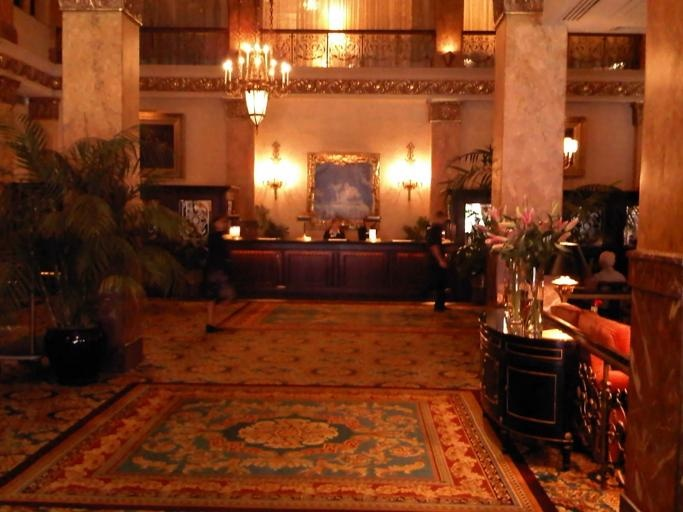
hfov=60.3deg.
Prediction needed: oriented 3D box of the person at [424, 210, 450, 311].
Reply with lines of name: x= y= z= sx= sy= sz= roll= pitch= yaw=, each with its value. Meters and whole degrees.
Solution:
person: x=1.605 y=0.083 z=9.761 sx=0.431 sy=1.625 sz=0.328 roll=6 pitch=8 yaw=43

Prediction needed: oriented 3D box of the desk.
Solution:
desk: x=1.354 y=0.988 z=4.781 sx=0.468 sy=0.880 sz=1.429 roll=0 pitch=4 yaw=-4

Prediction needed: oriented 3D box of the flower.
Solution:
flower: x=1.472 y=-0.158 z=4.568 sx=0.608 sy=0.453 sz=0.623 roll=1 pitch=4 yaw=-32

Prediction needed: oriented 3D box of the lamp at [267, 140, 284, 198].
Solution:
lamp: x=-1.485 y=-1.899 z=13.085 sx=0.389 sy=1.280 sz=0.172 roll=-1 pitch=6 yaw=-12

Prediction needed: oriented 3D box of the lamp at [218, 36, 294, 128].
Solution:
lamp: x=-1.382 y=-2.723 z=9.476 sx=0.944 sy=1.570 sz=1.002 roll=0 pitch=1 yaw=19

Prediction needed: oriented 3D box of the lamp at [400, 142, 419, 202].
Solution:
lamp: x=1.528 y=-1.857 z=13.000 sx=0.386 sy=1.302 sz=0.143 roll=1 pitch=5 yaw=6

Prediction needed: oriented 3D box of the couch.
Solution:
couch: x=1.783 y=1.015 z=4.130 sx=0.485 sy=1.040 sz=1.322 roll=1 pitch=6 yaw=9

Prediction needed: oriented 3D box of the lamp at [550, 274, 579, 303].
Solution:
lamp: x=2.236 y=0.319 z=5.907 sx=0.271 sy=0.335 sz=0.295 roll=-1 pitch=0 yaw=-4

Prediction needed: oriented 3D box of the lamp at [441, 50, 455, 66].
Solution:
lamp: x=2.284 y=-4.196 z=12.539 sx=0.286 sy=0.281 sz=0.244 roll=1 pitch=6 yaw=9

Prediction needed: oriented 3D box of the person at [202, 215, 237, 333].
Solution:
person: x=-1.849 y=0.192 z=9.302 sx=0.461 sy=1.734 sz=0.567 roll=17 pitch=23 yaw=36

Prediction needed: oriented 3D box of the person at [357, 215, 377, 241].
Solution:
person: x=0.544 y=-0.603 z=12.388 sx=0.478 sy=0.806 sz=0.519 roll=0 pitch=6 yaw=3

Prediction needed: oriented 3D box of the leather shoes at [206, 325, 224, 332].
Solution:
leather shoes: x=-1.751 y=1.007 z=8.130 sx=0.180 sy=0.095 sz=0.105 roll=4 pitch=4 yaw=-10
